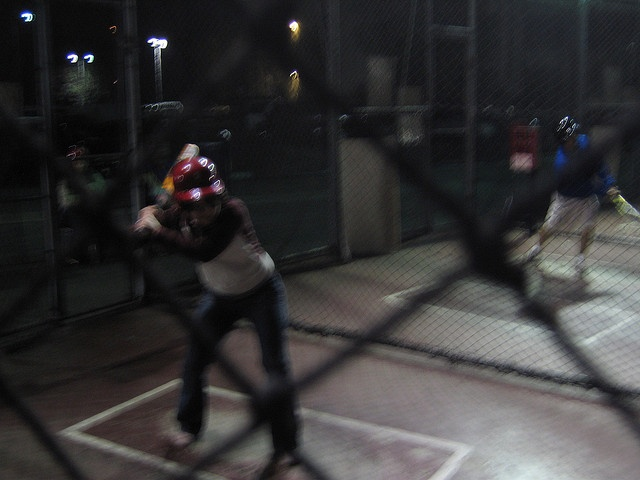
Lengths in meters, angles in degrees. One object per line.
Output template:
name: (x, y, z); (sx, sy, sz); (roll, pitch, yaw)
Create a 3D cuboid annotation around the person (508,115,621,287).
person: (2.714, -0.446, 6.164); (1.026, 1.862, 0.580); (8, 32, 27)

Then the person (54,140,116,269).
person: (-2.658, -0.276, 6.247); (0.598, 1.534, 0.502); (-7, -13, 40)

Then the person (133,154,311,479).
person: (-0.644, 0.549, 3.678); (0.992, 2.168, 0.776); (-1, 14, 4)

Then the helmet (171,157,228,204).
helmet: (-0.703, -0.384, 3.390); (0.274, 0.207, 0.389); (-12, 18, 12)
